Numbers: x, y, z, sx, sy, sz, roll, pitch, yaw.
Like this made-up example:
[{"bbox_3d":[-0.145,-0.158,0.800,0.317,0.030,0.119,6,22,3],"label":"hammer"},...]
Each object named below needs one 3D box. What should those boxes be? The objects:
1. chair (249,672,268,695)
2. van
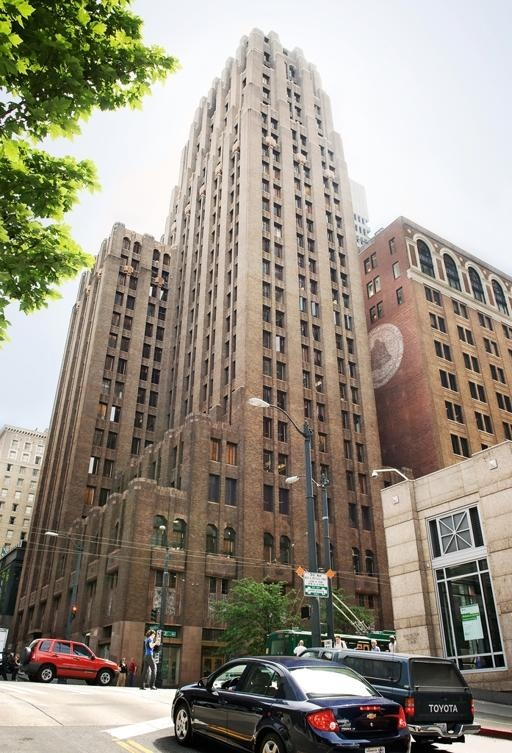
[{"bbox_3d":[0.047,3.901,6.190,0.214,0.306,0.291,8,-18,-7],"label":"chair"},{"bbox_3d":[2.474,5.910,10.163,2.105,1.692,3.994,14,-25,-27],"label":"van"}]
